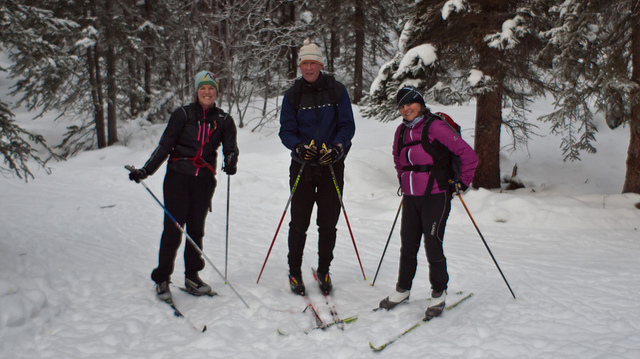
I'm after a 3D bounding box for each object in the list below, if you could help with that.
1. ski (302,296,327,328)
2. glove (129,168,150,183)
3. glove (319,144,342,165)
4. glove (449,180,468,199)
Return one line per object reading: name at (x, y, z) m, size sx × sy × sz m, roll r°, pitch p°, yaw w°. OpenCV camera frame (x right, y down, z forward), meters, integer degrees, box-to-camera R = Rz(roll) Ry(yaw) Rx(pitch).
ski at (-0.123, 2.893, 10.762) m, size 0.091 × 0.252 × 0.667 m, roll -5°, pitch 44°, yaw -34°
glove at (-3.919, -0.089, 10.849) m, size 0.406 × 0.332 × 0.219 m, roll 1°, pitch 10°, yaw -21°
glove at (0.224, -0.518, 10.866) m, size 0.344 × 0.452 × 0.178 m, roll 43°, pitch -10°, yaw 21°
glove at (2.968, 0.222, 10.799) m, size 0.353 × 0.353 × 0.133 m, roll -7°, pitch -9°, yaw 17°
